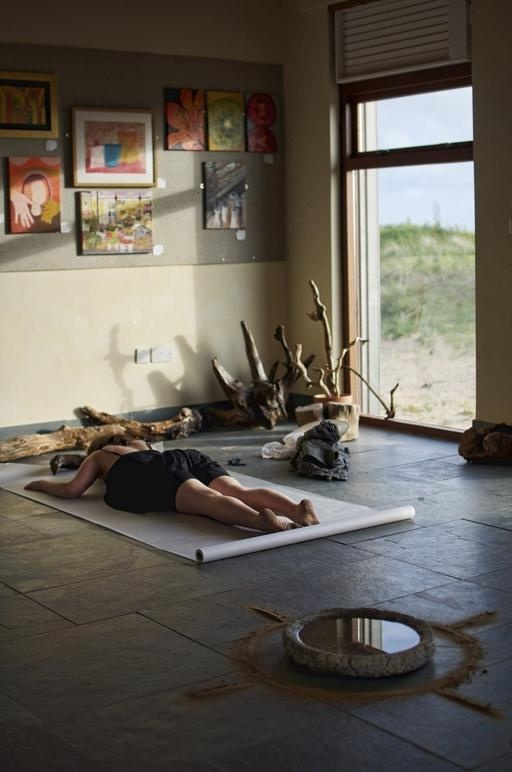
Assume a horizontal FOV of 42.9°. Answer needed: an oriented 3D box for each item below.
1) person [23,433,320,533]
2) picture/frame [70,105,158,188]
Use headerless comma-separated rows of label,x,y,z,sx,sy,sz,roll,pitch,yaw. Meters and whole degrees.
person,-0.427,0.523,3.419,1.218,0.229,0.512,7,-1,40
picture/frame,-1.215,-2.005,5.394,0.778,0.621,0.030,-7,11,-35
